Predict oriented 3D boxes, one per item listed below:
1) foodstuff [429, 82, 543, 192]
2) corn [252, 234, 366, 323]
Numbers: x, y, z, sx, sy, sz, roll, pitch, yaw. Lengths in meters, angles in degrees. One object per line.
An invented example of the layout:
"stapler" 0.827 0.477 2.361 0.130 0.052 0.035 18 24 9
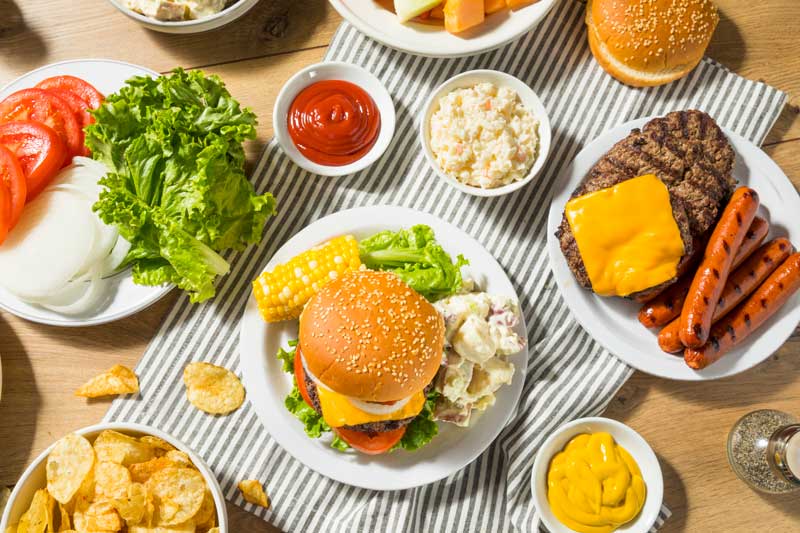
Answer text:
"foodstuff" 0.468 -0.726 3.585 0.623 0.164 0.581 -12 81 -4
"corn" -0.498 0.067 3.527 0.655 0.249 0.317 -35 52 6
